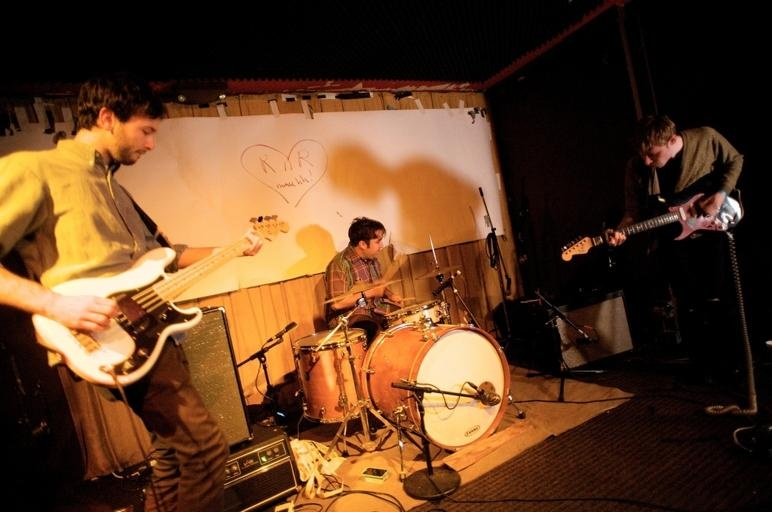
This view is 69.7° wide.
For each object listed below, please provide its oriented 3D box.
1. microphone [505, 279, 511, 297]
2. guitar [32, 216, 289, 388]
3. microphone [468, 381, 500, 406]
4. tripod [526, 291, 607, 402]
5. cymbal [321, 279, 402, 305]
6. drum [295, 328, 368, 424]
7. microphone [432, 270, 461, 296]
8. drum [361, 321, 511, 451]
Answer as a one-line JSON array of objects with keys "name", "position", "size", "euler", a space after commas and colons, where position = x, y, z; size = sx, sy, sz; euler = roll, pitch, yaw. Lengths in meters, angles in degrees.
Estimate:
[{"name": "microphone", "position": [1.556, 0.404, 7.038], "size": [0.054, 0.211, 0.146], "euler": [-3, -1, 8]}, {"name": "guitar", "position": [-1.720, 0.344, 4.164], "size": [0.234, 0.611, 1.620], "euler": [-24, 6, 36]}, {"name": "microphone", "position": [0.801, 1.149, 4.628], "size": [0.238, 0.201, 0.124], "euler": [13, 2, -13]}, {"name": "tripod", "position": [1.847, 0.930, 5.586], "size": [0.649, 0.926, 0.688], "euler": [-21, 7, 8]}, {"name": "cymbal", "position": [-0.206, 0.311, 4.953], "size": [0.451, 0.079, 0.327], "euler": [-7, -5, -44]}, {"name": "drum", "position": [-0.454, 1.030, 5.198], "size": [0.735, 0.783, 0.761], "euler": [4, 14, 22]}, {"name": "microphone", "position": [0.622, 0.294, 5.862], "size": [0.217, 0.227, 0.206], "euler": [-27, -13, -2]}, {"name": "drum", "position": [0.465, 0.923, 4.963], "size": [1.296, 1.348, 0.993], "euler": [-7, 6, -33]}]
